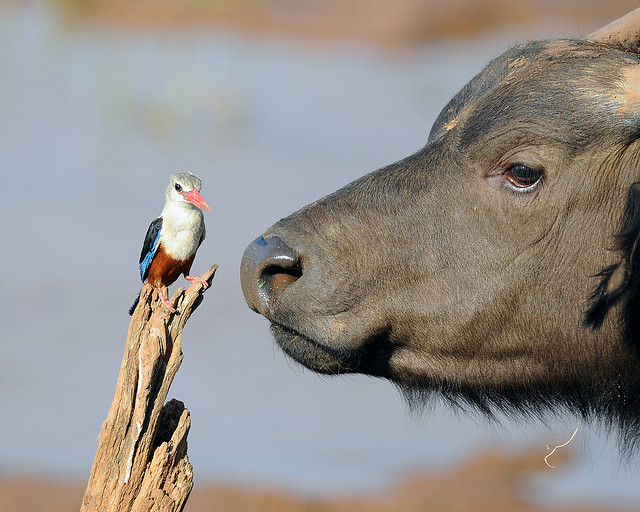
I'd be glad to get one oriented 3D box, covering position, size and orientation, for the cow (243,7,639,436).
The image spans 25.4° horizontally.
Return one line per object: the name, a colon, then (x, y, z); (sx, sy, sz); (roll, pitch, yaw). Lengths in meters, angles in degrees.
cow: (1.224, -0.228, 11.212); (2.506, 1.724, 4.525); (-11, 13, 7)
